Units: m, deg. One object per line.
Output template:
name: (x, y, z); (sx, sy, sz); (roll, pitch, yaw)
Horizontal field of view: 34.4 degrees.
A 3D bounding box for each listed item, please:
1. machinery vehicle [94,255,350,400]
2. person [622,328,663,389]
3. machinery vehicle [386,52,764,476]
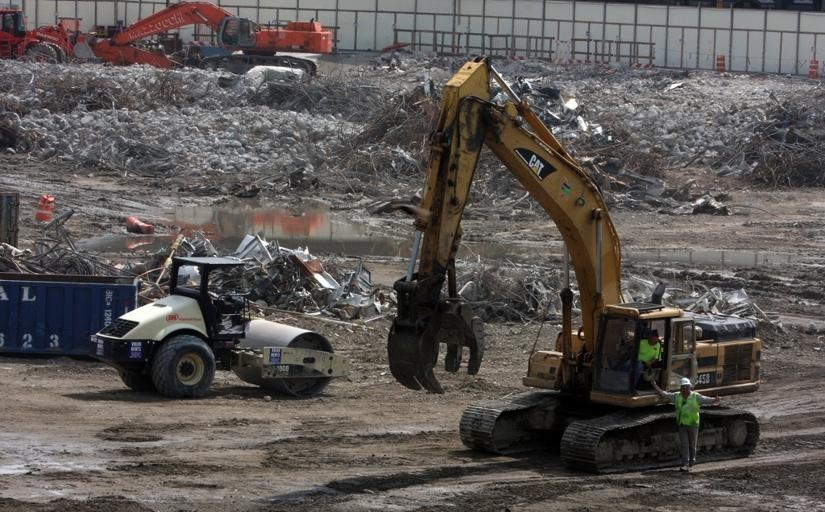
machinery vehicle: (-5.729, 2.036, 38.402); (7.137, 3.293, 3.861); (2, 6, -30)
person: (6.045, 2.684, 34.543); (0.936, 1.523, 0.239); (0, 3, -17)
machinery vehicle: (3.952, 0.578, 35.467); (12.229, 9.334, 6.218); (4, 2, -40)
